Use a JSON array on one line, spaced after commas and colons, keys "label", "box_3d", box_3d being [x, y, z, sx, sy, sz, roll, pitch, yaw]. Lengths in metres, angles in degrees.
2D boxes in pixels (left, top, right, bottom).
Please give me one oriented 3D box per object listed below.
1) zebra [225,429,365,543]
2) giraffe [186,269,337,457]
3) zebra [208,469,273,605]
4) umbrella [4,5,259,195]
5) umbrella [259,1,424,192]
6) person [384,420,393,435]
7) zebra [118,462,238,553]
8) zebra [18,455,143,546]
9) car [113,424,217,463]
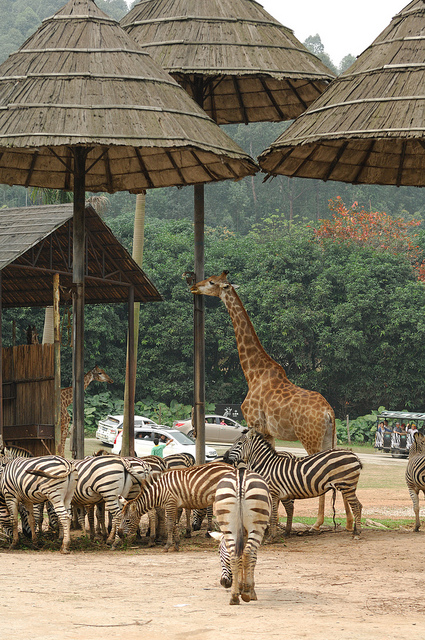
[{"label": "zebra", "box_3d": [1.111, 2.307, 17.998, 1.732, 1.582, 0.585, -3, -2, 29]}, {"label": "giraffe", "box_3d": [0.832, 0.631, 19.513, 0.793, 2.639, 2.167, 3, -4, -40]}, {"label": "zebra", "box_3d": [0.292, 2.238, 13.797, 0.601, 1.340, 0.587, 0, -3, -4]}, {"label": "umbrella", "box_3d": [-1.388, -2.957, 19.019, 2.759, 1.809, 3.158, 0, -2, 10]}, {"label": "umbrella", "box_3d": [1.911, -3.051, 18.625, 2.090, 2.824, 2.431, 7, -16, 6]}, {"label": "person", "box_3d": [5.923, 3.726, 45.538, 0.331, 0.374, 1.078, -5, 15, 4]}, {"label": "zebra", "box_3d": [-0.378, 2.466, 17.399, 1.669, 1.094, 0.513, -6, 11, -13]}, {"label": "zebra", "box_3d": [-1.854, 2.324, 17.787, 1.934, 1.505, 0.565, -12, -3, 23]}, {"label": "car", "box_3d": [-1.214, 3.193, 34.670, 2.797, 1.393, 1.425, -3, -6, 24]}]
